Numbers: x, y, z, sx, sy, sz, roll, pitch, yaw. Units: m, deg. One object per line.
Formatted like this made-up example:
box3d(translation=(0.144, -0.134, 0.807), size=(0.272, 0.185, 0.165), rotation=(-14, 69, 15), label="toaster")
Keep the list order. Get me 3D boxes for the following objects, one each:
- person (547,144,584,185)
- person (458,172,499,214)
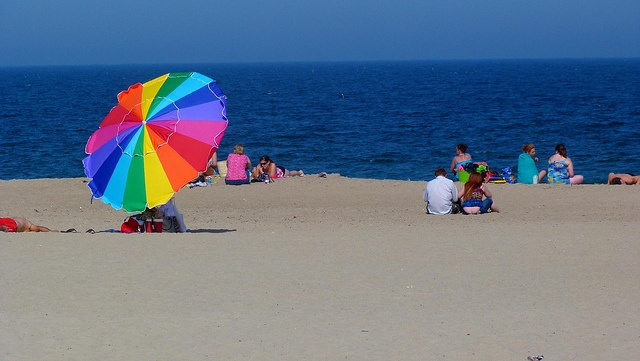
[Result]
box3d(translation=(11.756, -0.684, 51.575), size=(1.438, 1.858, 0.653), rotation=(2, 10, 13), label="person")
box3d(translation=(6.985, 0.653, 47.425), size=(1.412, 1.762, 0.651), rotation=(-4, 11, -22), label="person")
